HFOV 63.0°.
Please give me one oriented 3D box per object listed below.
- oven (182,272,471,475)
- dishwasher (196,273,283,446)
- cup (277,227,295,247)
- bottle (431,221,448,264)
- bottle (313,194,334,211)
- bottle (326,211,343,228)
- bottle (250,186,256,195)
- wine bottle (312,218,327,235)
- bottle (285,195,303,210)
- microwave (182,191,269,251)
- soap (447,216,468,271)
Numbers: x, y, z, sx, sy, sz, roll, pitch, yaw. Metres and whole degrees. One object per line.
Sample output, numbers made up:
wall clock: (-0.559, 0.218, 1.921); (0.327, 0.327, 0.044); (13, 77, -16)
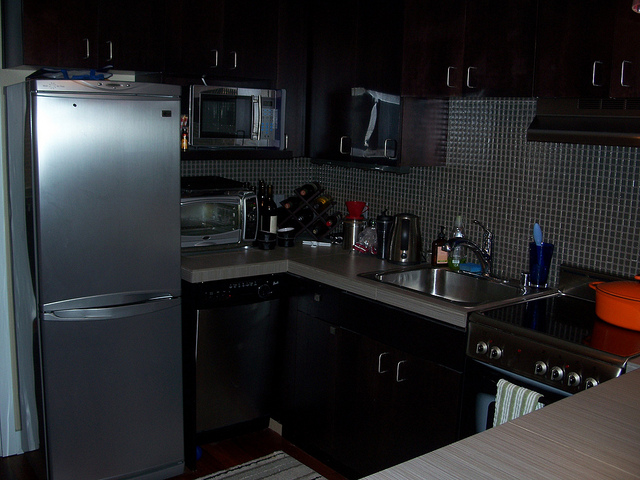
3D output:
oven: (-0.037, 0.766, 2.800); (1.189, 0.847, 1.211); (-3, 8, -27)
dishwasher: (-0.491, 0.742, 3.181); (0.563, 1.076, 0.086); (-8, 14, -35)
cup: (-0.229, -0.021, 3.497); (0.109, 0.107, 0.106); (0, 23, 0)
bottle: (0.729, 0.012, 3.155); (0.092, 0.217, 0.259); (4, 13, 12)
bottle: (0.018, -0.261, 3.615); (0.083, 0.095, 0.232); (-5, 14, 23)
bottle: (0.100, -0.137, 3.604); (0.056, 0.061, 0.195); (-18, 9, 22)
bottle: (-0.441, -0.324, 3.405); (0.035, 0.067, 0.069); (1, 24, 0)
wine bottle: (-0.004, -0.099, 3.626); (0.097, 0.107, 0.113); (0, 13, -5)
bottle: (-0.181, -0.254, 3.583); (0.118, 0.072, 0.158); (1, 13, -3)
microwave: (-0.626, -0.123, 3.251); (0.482, 0.341, 0.336); (-5, 13, -28)
soap: (0.791, 0.020, 3.051); (0.125, 0.326, 0.121); (5, 6, -12)
